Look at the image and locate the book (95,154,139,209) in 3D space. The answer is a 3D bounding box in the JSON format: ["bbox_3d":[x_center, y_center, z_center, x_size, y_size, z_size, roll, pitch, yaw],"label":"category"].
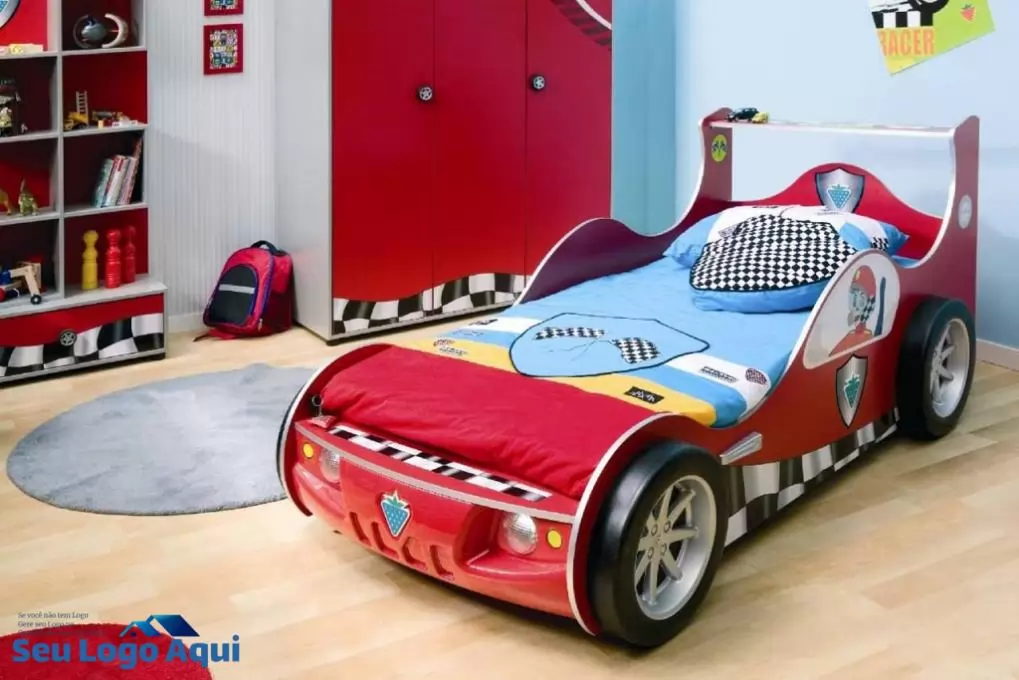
[{"bbox_3d":[-2.005,-0.828,3.865,0.096,0.282,0.214,11,-1,-31],"label":"book"}]

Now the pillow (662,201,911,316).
[{"bbox_3d":[1.373,-0.347,3.220,1.100,0.332,1.127,-16,10,-39],"label":"pillow"}]

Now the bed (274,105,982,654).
[{"bbox_3d":[0.623,-0.114,2.989,2.586,1.139,1.703,-25,28,-37],"label":"bed"}]

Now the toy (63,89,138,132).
[{"bbox_3d":[-2.047,-1.171,3.769,0.346,0.200,0.190,-8,17,-33],"label":"toy"}]

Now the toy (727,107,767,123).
[{"bbox_3d":[1.174,-1.119,3.674,0.159,0.048,0.116,0,13,-7],"label":"toy"}]

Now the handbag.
[{"bbox_3d":[-1.505,-0.312,4.351,0.503,0.568,0.348,6,1,27],"label":"handbag"}]
